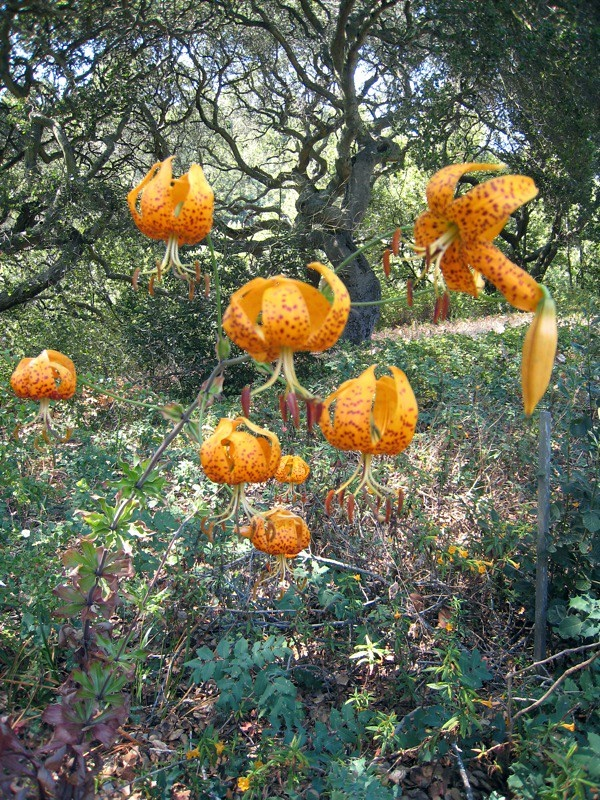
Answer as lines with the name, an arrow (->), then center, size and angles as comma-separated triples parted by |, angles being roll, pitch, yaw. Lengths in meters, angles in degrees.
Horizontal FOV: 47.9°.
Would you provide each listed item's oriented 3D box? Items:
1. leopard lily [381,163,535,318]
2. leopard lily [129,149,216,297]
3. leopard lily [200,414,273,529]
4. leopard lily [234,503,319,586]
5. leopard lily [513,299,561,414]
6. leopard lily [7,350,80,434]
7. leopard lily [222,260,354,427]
leopard lily -> 0.337, -0.359, 1.458 | 0.301, 0.375, 0.411 | 4, 7, 4
leopard lily -> -0.331, -0.443, 1.683 | 0.225, 0.314, 0.208 | 1, 14, -20
leopard lily -> -0.160, 0.210, 1.815 | 0.202, 0.377, 0.332 | 3, 7, -3
leopard lily -> -0.068, 0.403, 1.929 | 0.237, 0.226, 0.172 | -3, 6, -7
leopard lily -> 0.474, -0.090, 1.341 | 0.061, 0.252, 0.116 | 6, 7, 18
leopard lily -> -0.743, -0.003, 1.944 | 0.155, 0.299, 0.329 | 1, 8, -22
leopard lily -> -0.038, -0.120, 1.504 | 0.310, 0.345, 0.288 | 7, 27, 7
